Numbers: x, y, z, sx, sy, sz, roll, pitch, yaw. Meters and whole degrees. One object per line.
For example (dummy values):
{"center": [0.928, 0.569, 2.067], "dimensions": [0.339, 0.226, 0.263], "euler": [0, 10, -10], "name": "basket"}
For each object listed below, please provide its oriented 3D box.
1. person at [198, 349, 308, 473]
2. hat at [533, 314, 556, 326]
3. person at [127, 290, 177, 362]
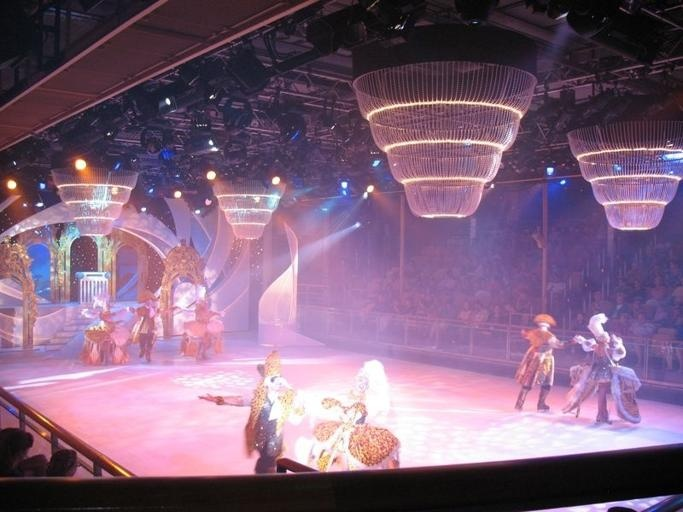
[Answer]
{"center": [-0.717, 1.713, 4.968], "dimensions": [1.186, 1.450, 0.449], "euler": [0, 10, -20], "name": "person"}
{"center": [3.453, 1.064, 8.535], "dimensions": [0.395, 0.147, 0.399], "euler": [4, 3, -5], "name": "hat"}
{"center": [-5.196, 1.994, 14.219], "dimensions": [0.621, 1.662, 1.538], "euler": [-13, -12, 43], "name": "person"}
